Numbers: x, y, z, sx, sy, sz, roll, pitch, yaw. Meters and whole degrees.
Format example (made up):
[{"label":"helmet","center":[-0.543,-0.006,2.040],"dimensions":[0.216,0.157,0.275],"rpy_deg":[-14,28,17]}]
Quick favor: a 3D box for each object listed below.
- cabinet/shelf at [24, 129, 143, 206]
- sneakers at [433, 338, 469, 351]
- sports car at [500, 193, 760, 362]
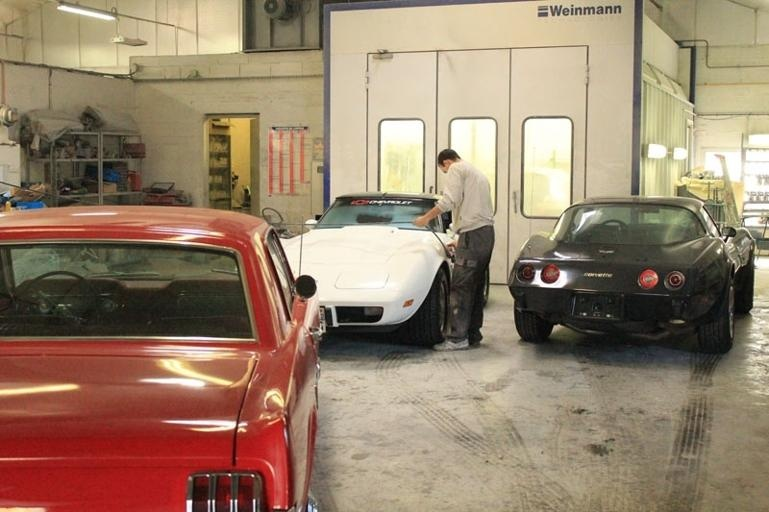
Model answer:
[{"label":"cabinet/shelf","center":[-6.090,-1.801,14.122],"dimensions":[0.684,1.962,2.151],"rpy_deg":[6,7,40]},{"label":"sneakers","center":[0.656,0.865,6.860],"dimensions":[0.312,0.137,0.117],"rpy_deg":[1,-1,-13]},{"label":"sports car","center":[2.154,0.154,6.286],"dimensions":[1.257,0.816,2.375],"rpy_deg":[0,6,22]}]
